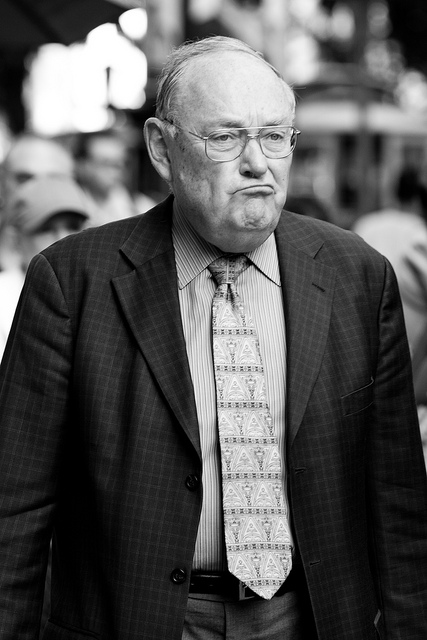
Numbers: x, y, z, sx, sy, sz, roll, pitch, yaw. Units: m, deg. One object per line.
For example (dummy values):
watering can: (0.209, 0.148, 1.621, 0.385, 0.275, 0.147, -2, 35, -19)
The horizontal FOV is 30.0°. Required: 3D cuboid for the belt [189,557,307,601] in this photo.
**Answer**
belt: (0.018, 0.519, 1.744, 0.147, 0.034, 0.131, -1, -2, 0)
